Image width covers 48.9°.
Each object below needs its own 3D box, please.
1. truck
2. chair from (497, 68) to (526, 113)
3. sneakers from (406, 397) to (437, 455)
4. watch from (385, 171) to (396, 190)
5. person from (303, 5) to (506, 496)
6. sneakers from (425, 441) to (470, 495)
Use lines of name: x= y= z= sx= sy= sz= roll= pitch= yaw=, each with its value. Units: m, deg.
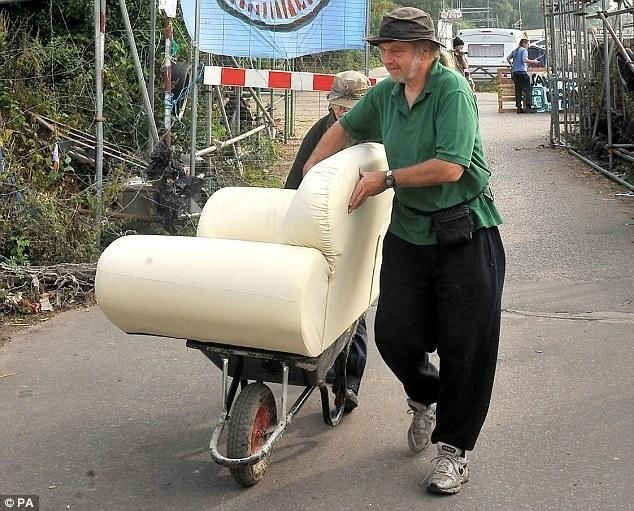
truck: x=8.479 y=-9.394 z=34.489 sx=3.356 sy=2.988 sz=5.406 roll=3 pitch=25 yaw=15
chair: x=5.719 y=-4.816 z=20.452 sx=0.704 sy=1.080 sz=1.404 roll=-1 pitch=15 yaw=14
sneakers: x=0.610 y=0.990 z=4.061 sx=0.109 sy=0.363 sz=0.141 roll=6 pitch=-25 yaw=13
watch: x=0.367 y=-0.380 z=3.558 sx=0.050 sy=0.089 sz=0.079 roll=-3 pitch=18 yaw=6
person: x=0.558 y=-0.035 z=3.756 sx=0.833 sy=2.479 sz=0.653 roll=3 pitch=14 yaw=25
sneakers: x=0.696 y=1.132 z=3.701 sx=0.144 sy=0.187 sz=0.303 roll=1 pitch=-3 yaw=23
